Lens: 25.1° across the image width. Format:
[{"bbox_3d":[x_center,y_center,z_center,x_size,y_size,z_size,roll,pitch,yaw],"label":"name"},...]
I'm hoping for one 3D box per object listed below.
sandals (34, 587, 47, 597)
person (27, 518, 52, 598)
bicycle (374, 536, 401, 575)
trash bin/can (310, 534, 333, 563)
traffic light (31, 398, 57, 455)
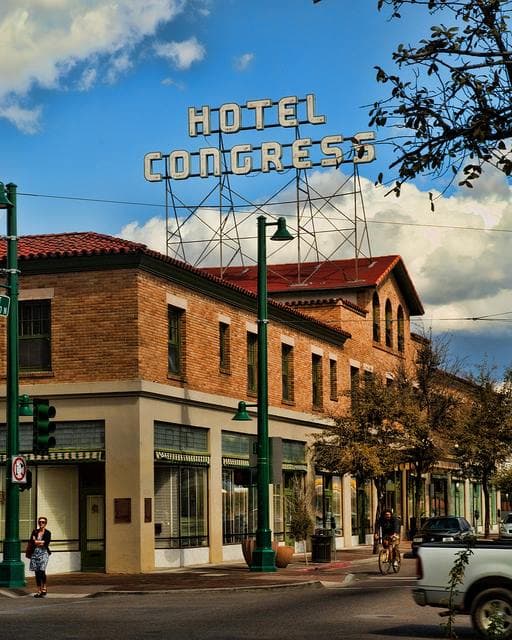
[{"bbox_3d":[-3.981,5.094,21.444,0.125,0.106,0.283,0,-11,7],"label":"sandals"},{"bbox_3d":[-4.127,4.514,21.874,0.430,1.521,1.157,0,-12,-11],"label":"person"},{"bbox_3d":[3.292,5.980,29.057,0.481,0.665,1.045,-3,-15,15],"label":"bicycle"},{"bbox_3d":[1.882,6.325,31.835,0.646,0.747,0.687,-1,-5,15],"label":"trash bin/can"},{"bbox_3d":[-4.114,2.057,22.418,0.399,1.136,0.570,0,-12,-13],"label":"traffic light"}]
